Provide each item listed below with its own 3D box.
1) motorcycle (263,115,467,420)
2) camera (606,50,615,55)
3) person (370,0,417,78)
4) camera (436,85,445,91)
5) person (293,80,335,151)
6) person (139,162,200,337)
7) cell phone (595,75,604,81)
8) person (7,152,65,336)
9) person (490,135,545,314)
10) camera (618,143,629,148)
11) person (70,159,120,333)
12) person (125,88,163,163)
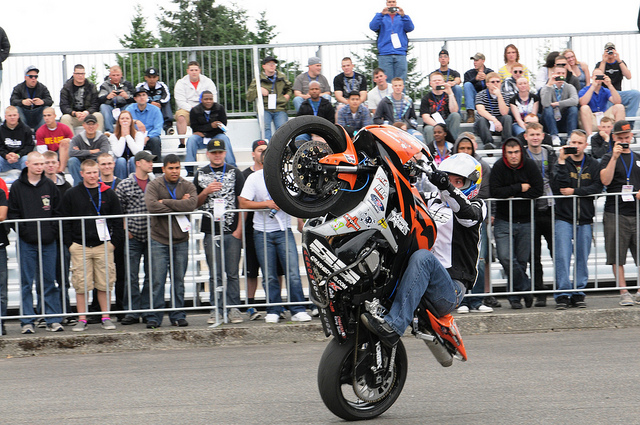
[{"bbox_3d":[0.498,0.817,18.344,2.317,4.486,0.494,-3,0,-2],"label":"motorcycle"},{"bbox_3d":[6.268,-3.550,27.329,0.125,0.097,0.065,-2,0,-17],"label":"camera"},{"bbox_3d":[1.573,-3.862,27.419,0.854,1.731,0.301,-3,0,1],"label":"person"},{"bbox_3d":[2.481,-2.656,26.223,0.184,0.115,0.057,-2,0,-26],"label":"camera"},{"bbox_3d":[-0.170,-2.065,25.860,1.127,1.208,1.009,-9,19,-29],"label":"person"},{"bbox_3d":[-2.658,0.632,22.141,1.130,3.031,1.475,-3,0,-5],"label":"person"},{"bbox_3d":[5.814,-2.879,26.335,0.163,0.112,0.033,2,10,6],"label":"cell phone"},{"bbox_3d":[-4.955,0.518,21.951,0.972,3.156,0.770,-3,0,-21],"label":"person"},{"bbox_3d":[3.477,0.199,22.284,0.966,3.186,0.554,-3,0,6],"label":"person"},{"bbox_3d":[5.371,-1.219,22.356,0.191,0.080,0.062,-2,0,-23],"label":"camera"},{"bbox_3d":[-3.972,0.558,21.979,0.987,2.981,0.898,-3,0,-13],"label":"person"},{"bbox_3d":[-3.547,-1.835,25.860,0.762,1.545,1.009,-3,0,-22],"label":"person"}]
